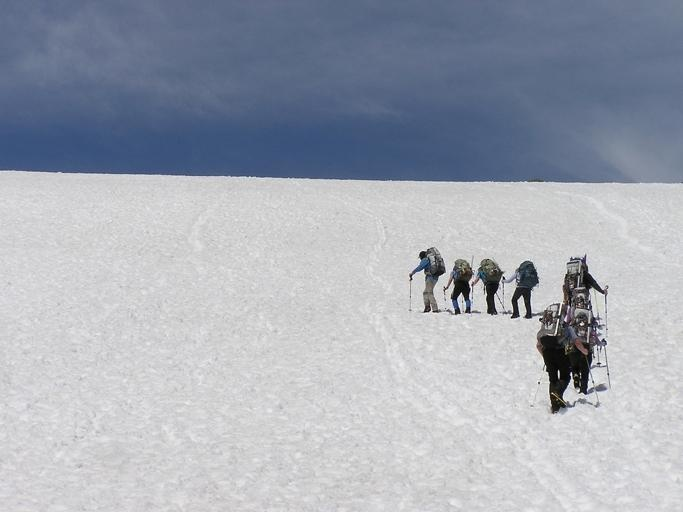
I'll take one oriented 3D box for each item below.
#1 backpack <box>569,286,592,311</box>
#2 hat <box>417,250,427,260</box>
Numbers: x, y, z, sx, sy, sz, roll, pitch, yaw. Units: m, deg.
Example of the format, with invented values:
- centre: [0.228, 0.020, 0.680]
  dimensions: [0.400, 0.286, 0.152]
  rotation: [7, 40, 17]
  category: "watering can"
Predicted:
- centre: [8.030, 1.457, 36.673]
  dimensions: [0.587, 0.365, 1.012]
  rotation: [-2, 24, 13]
  category: "backpack"
- centre: [3.111, -0.111, 42.270]
  dimensions: [0.245, 0.335, 0.314]
  rotation: [5, -25, -4]
  category: "hat"
